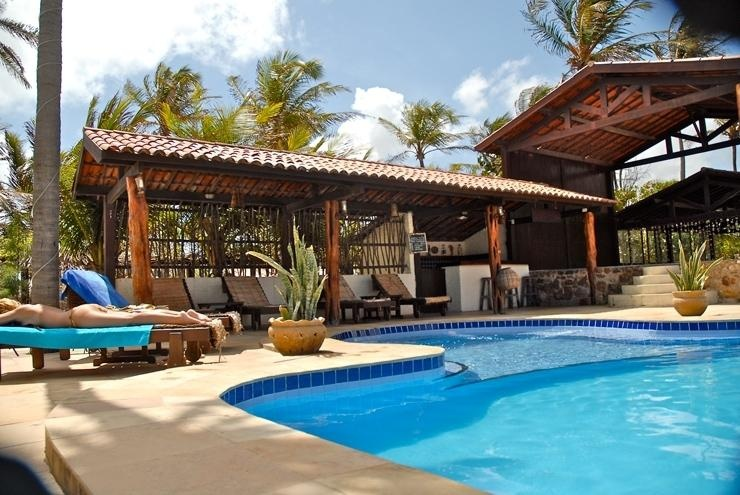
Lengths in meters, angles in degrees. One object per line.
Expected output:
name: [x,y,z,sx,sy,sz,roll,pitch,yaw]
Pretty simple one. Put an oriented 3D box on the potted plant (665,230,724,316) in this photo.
potted plant: [6.410,0.577,10.900,0.557,1.349,3.138,1,1,31]
